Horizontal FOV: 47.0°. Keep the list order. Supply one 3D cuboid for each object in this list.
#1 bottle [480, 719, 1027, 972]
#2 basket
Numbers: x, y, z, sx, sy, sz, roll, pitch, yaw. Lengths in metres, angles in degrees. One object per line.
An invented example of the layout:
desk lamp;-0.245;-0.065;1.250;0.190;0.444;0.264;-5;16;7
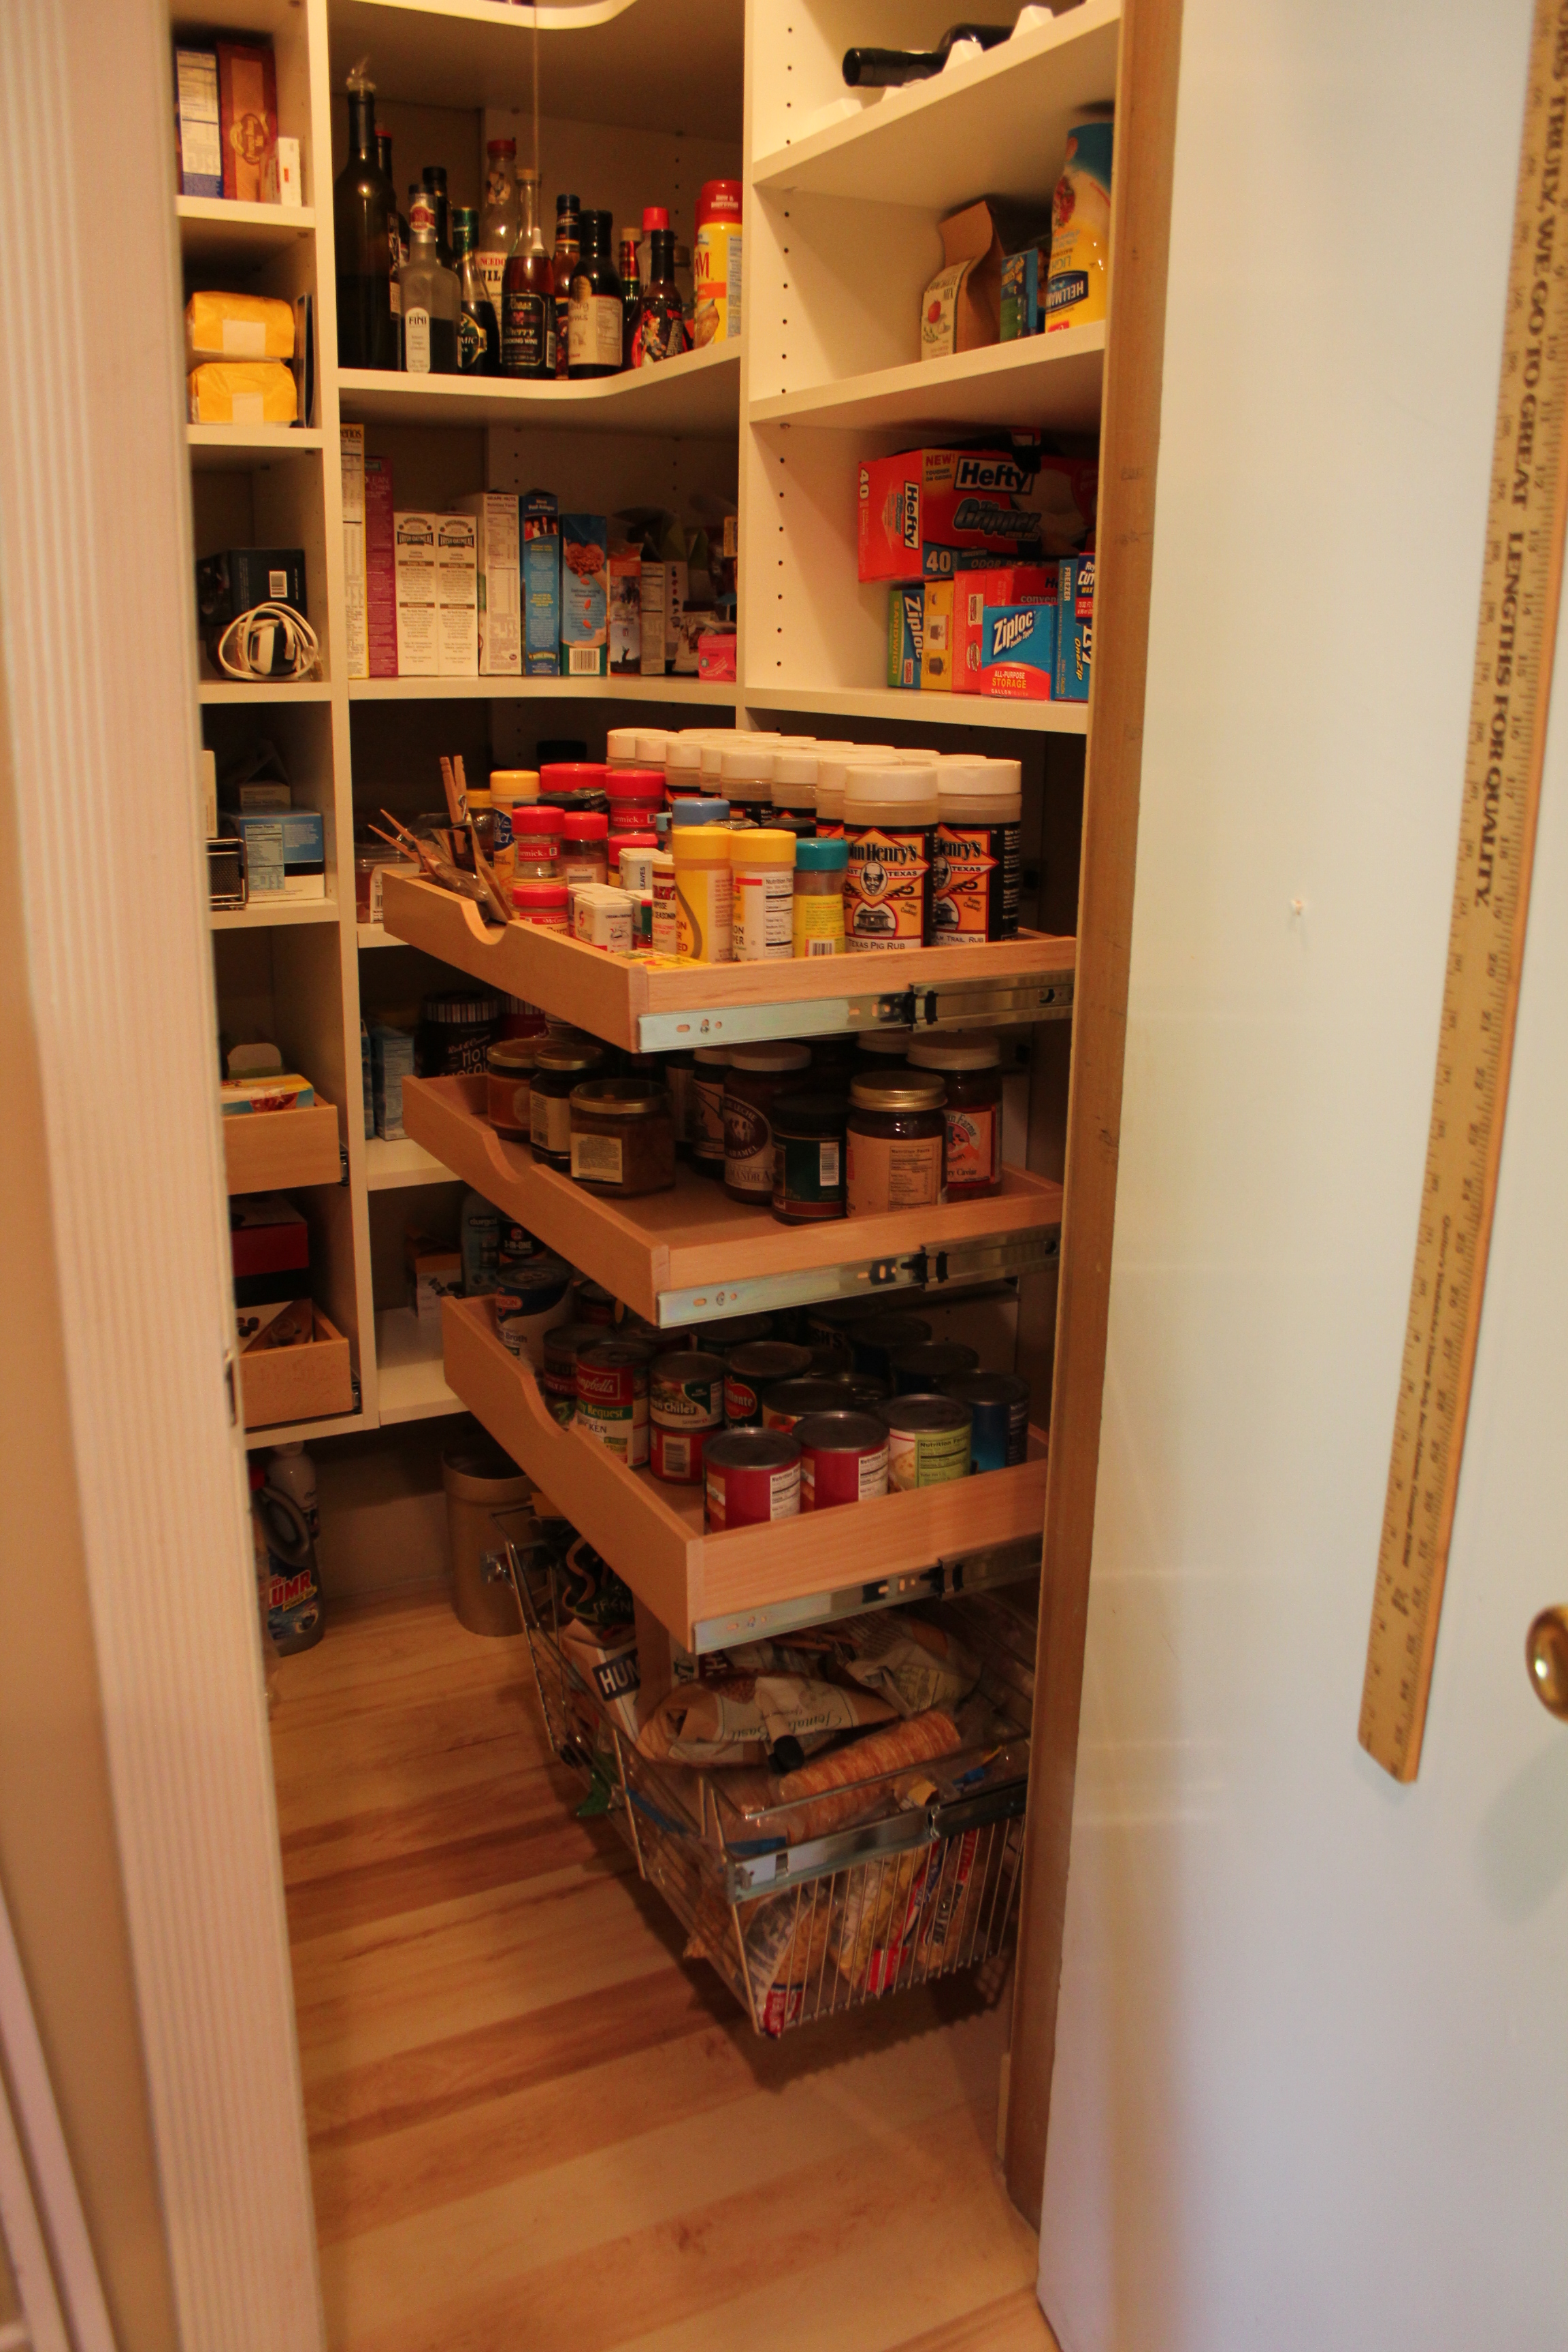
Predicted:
bottle;-0.064;-0.329;1.727;0.335;0.202;0.613;-7;13;-29
basket;0.030;0.641;1.867;0.320;0.253;0.474;-4;1;-23
